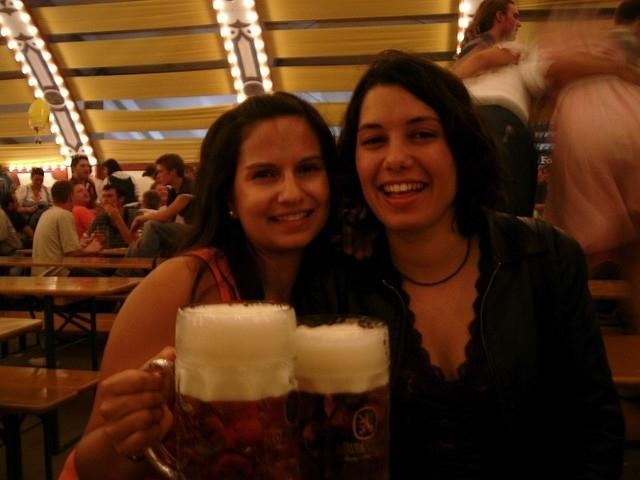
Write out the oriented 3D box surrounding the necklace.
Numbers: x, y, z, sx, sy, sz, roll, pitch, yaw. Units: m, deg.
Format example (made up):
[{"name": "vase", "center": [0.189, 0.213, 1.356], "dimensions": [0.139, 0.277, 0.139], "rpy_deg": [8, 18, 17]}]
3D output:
[{"name": "necklace", "center": [0.414, 0.073, 1.997], "dimensions": [0.198, 0.178, 0.016], "rpy_deg": [-3, -1, 4]}]
